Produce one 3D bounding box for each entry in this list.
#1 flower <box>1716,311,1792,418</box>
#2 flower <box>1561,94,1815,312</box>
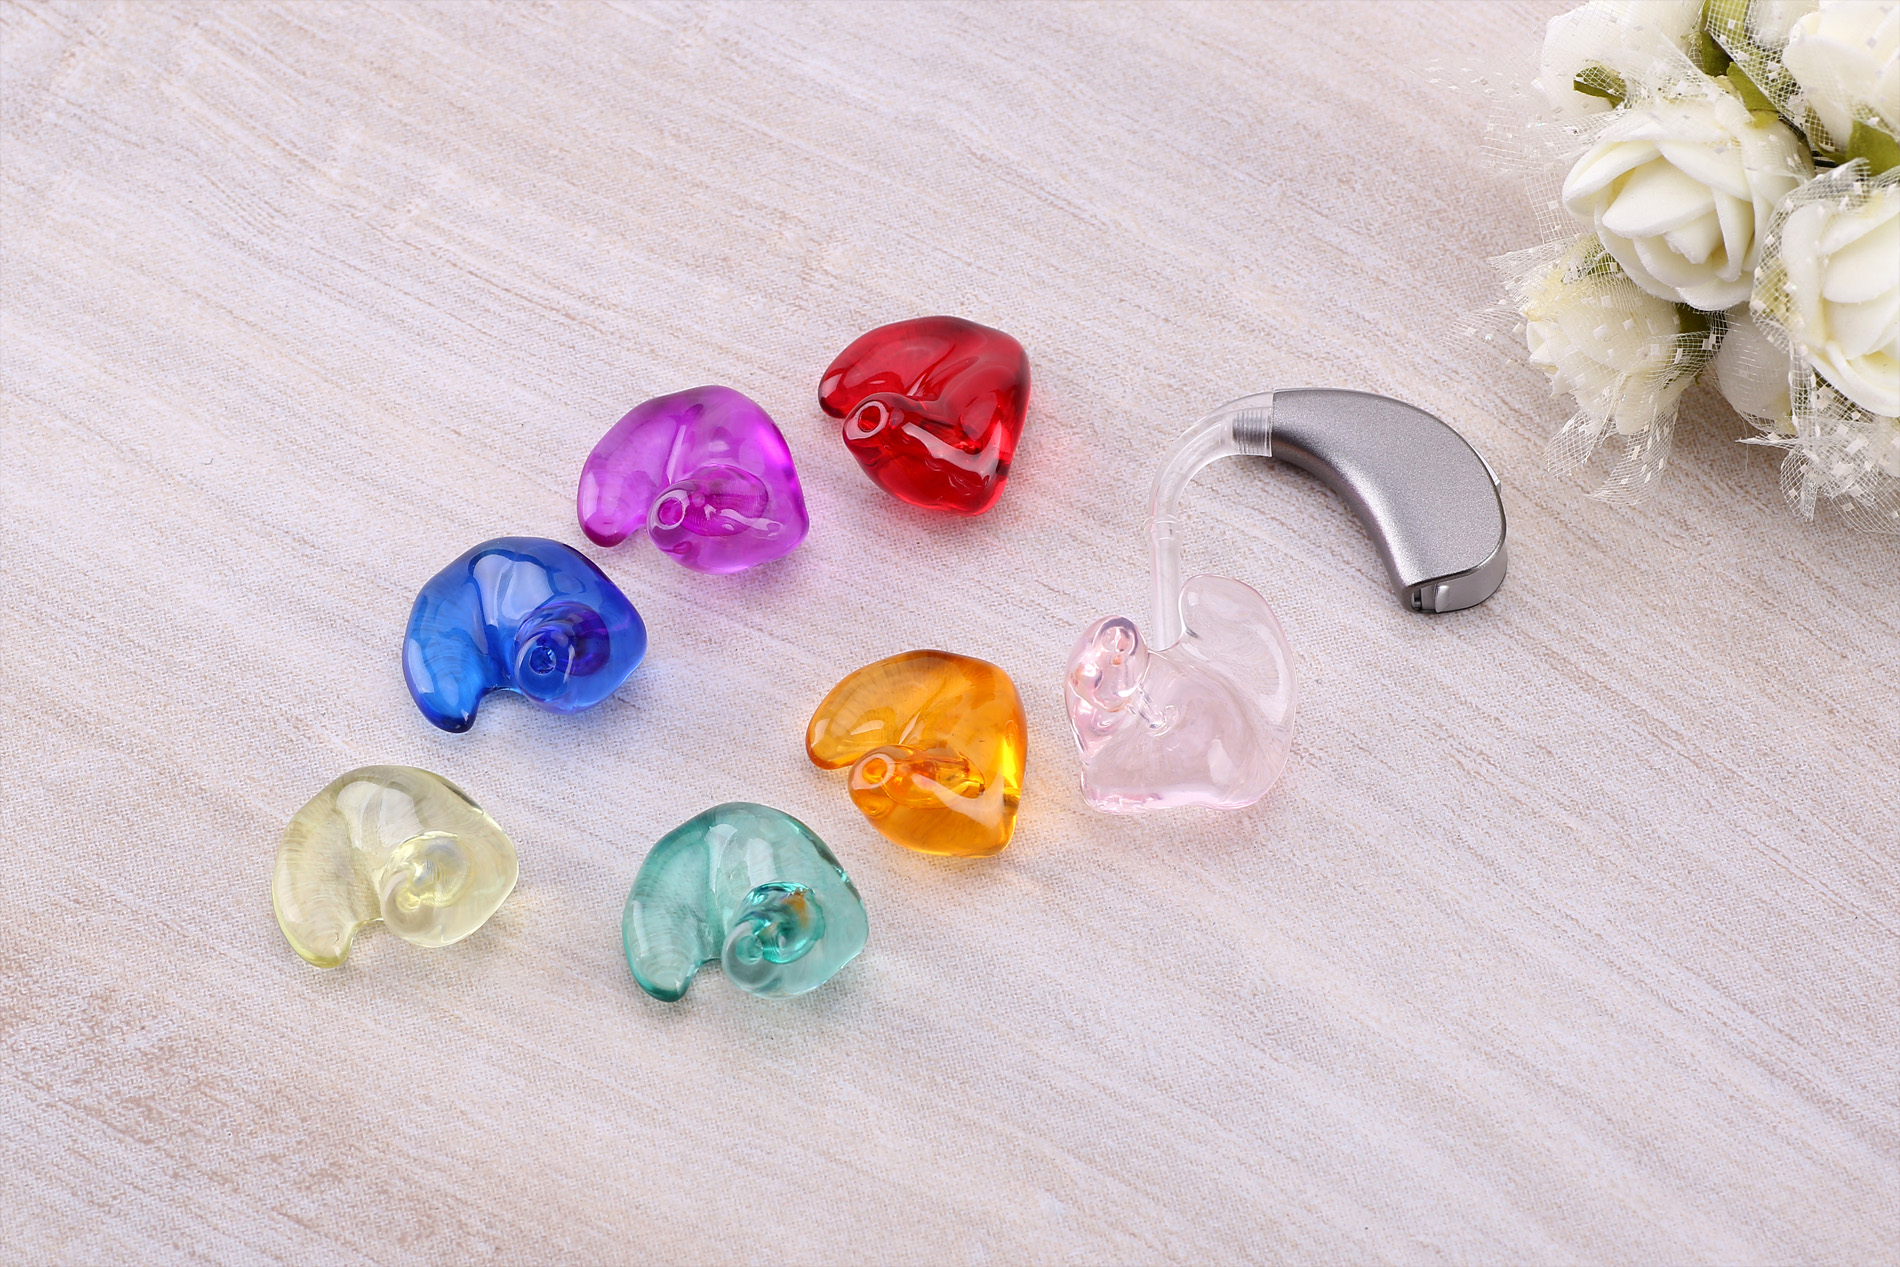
[{"bbox_3d":[0.602,-0.198,1.597,0.038,0.073,0.059,-18,19,-16],"label":"flower"},{"bbox_3d":[0.535,-0.323,1.560,0.156,0.139,0.090,24,39,10],"label":"flower"}]
